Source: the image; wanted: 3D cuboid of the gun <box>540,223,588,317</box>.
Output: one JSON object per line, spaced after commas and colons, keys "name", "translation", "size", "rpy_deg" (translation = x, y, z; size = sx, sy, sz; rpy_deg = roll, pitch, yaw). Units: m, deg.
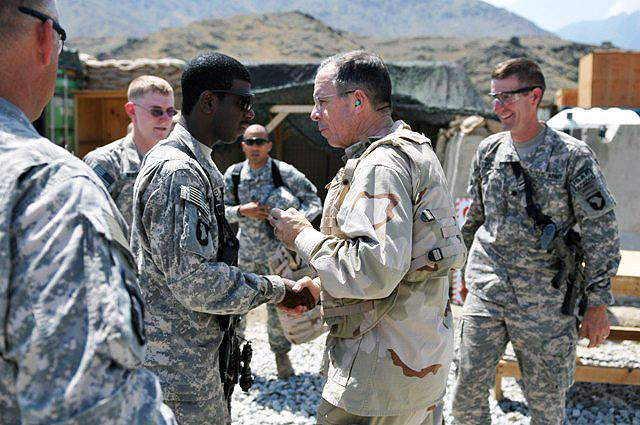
{"name": "gun", "translation": [2.347, 0.582, 9.083], "size": [0.358, 0.818, 0.232], "rpy_deg": [1, 7, 13]}
